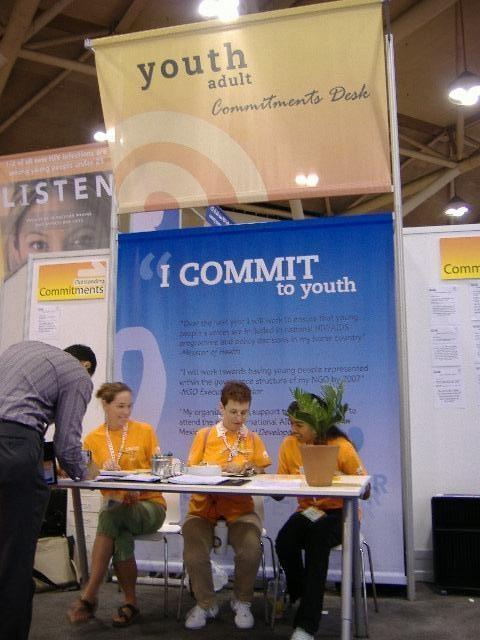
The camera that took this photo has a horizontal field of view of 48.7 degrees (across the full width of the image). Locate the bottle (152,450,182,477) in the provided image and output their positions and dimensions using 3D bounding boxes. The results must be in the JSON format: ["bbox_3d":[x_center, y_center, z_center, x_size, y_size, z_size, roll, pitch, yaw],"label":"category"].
[{"bbox_3d":[-0.294,0.621,2.267,0.136,0.096,0.086,1,-3,-41],"label":"bottle"}]

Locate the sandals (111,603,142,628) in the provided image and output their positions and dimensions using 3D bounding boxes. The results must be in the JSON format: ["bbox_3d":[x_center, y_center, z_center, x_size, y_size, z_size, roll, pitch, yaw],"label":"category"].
[{"bbox_3d":[-0.507,1.288,2.313,0.057,0.057,0.131,-2,-14,9],"label":"sandals"}]

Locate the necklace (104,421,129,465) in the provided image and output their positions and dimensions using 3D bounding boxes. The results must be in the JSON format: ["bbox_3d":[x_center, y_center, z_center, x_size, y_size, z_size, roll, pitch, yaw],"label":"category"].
[{"bbox_3d":[-0.612,0.617,2.630,0.070,0.229,0.033,-1,-40,-11],"label":"necklace"}]

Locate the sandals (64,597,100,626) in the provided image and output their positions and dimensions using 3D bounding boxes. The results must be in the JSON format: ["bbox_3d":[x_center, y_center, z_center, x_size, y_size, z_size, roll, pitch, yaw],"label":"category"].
[{"bbox_3d":[-0.702,1.286,2.330,0.075,0.062,0.142,2,-19,-3],"label":"sandals"}]

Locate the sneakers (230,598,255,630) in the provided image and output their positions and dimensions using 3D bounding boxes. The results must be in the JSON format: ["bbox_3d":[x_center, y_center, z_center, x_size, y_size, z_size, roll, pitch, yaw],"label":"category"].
[{"bbox_3d":[0.005,1.226,2.215,0.062,0.068,0.159,2,-14,-12],"label":"sneakers"}]

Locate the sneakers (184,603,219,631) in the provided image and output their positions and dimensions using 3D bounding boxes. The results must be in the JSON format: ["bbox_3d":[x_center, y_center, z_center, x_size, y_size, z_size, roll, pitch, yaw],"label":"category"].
[{"bbox_3d":[-0.156,1.255,2.281,0.075,0.087,0.189,-8,-13,23],"label":"sneakers"}]
